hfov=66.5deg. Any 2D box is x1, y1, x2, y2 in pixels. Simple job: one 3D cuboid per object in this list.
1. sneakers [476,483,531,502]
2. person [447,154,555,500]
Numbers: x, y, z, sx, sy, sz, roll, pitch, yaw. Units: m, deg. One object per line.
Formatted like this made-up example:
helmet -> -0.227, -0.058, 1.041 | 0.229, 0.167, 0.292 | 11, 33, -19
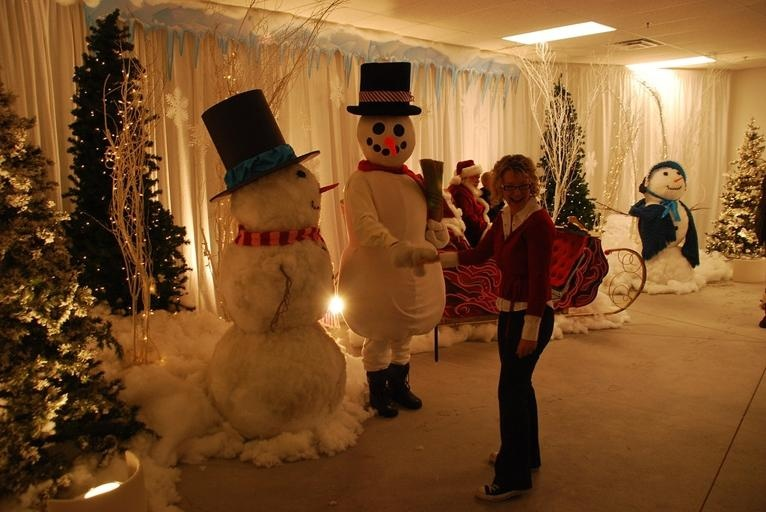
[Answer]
sneakers -> 0.728, 1.400, 3.526 | 0.314, 0.128, 0.118 | 1, 1, -7
person -> 0.769, 0.413, 3.483 | 0.457, 2.002, 0.490 | 1, 11, 9
